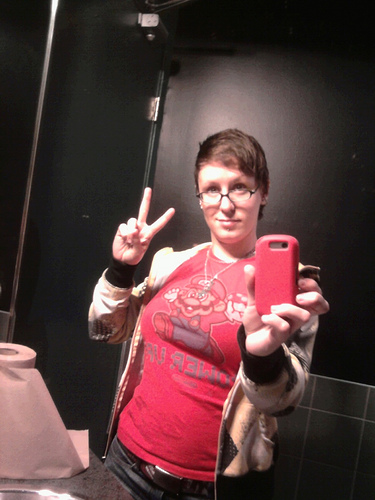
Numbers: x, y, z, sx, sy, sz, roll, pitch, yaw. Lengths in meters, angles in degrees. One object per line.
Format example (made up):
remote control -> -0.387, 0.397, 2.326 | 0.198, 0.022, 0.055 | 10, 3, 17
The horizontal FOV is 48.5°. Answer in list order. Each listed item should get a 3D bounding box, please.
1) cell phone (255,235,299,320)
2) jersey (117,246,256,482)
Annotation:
cell phone -> 0.142, 0.046, 0.641 | 0.070, 0.127, 0.030 | 0, -10, 0
jersey -> 0.012, 0.248, 1.009 | 0.266, 0.558, 0.213 | 13, 3, 20
